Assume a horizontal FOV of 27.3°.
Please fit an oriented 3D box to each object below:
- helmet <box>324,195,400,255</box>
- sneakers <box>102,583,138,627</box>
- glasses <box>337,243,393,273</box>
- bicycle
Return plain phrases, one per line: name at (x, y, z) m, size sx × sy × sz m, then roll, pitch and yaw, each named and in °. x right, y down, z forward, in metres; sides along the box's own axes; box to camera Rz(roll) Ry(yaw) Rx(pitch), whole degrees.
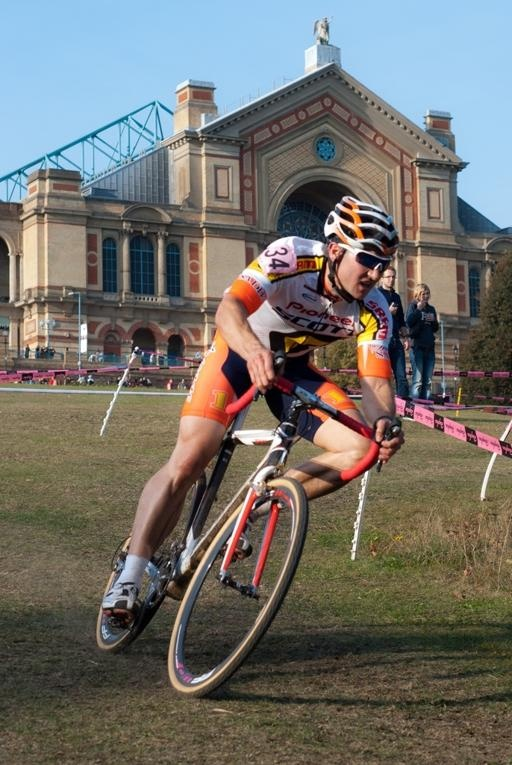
helmet at (0.446, -0.625, 4.411) m, size 0.238 × 0.193 × 0.306 m, roll 8°, pitch 18°, yaw -31°
sneakers at (-0.513, 0.859, 4.080) m, size 0.104 × 0.084 × 0.200 m, roll 2°, pitch 1°, yaw -9°
glasses at (0.463, -0.520, 4.323) m, size 0.111 × 0.044 × 0.141 m, roll 13°, pitch 16°, yaw -41°
bicycle at (-0.091, 0.518, 4.076) m, size 0.895 × 1.179 × 1.216 m, roll 2°, pitch 0°, yaw -18°
